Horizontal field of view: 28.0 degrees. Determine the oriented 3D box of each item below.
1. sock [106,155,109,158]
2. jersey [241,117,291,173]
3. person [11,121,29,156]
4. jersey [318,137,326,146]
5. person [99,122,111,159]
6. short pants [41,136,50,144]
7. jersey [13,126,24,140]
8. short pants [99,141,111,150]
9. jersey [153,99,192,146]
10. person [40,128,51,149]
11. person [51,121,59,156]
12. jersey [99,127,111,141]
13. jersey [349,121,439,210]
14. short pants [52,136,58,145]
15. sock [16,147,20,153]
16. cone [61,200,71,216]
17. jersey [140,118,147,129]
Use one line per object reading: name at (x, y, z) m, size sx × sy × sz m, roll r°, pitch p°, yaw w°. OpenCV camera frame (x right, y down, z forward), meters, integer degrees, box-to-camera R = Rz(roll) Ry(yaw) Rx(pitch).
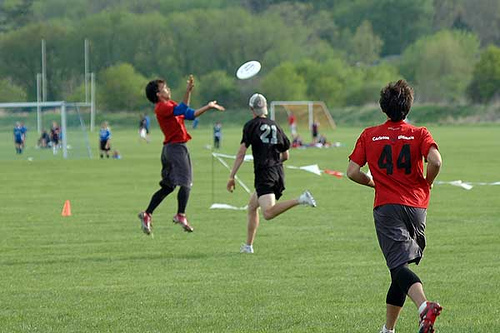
sock at (-6.702, -0.433, 46.884) m, size 0.069 × 0.145 × 0.193 m, roll 0°, pitch 5°, yaw 20°
jersey at (0.491, -0.754, 35.651) m, size 1.583 × 1.906 × 0.347 m, roll -2°, pitch 4°, yaw 1°
person at (-10.306, -1.236, 44.570) m, size 0.641 × 1.415 × 1.129 m, roll -2°, pitch 4°, yaw 0°
jersey at (4.295, -1.450, 60.976) m, size 0.439 × 0.555 × 0.163 m, roll -1°, pitch 0°, yaw 3°
person at (-6.755, -1.181, 46.727) m, size 0.313 × 1.674 × 0.816 m, roll 1°, pitch 5°, yaw 29°
short pants at (-9.269, -1.165, 45.395) m, size 0.412 × 0.298 × 0.251 m, roll 2°, pitch 6°, yaw 36°
jersey at (-10.367, -1.404, 44.448) m, size 0.597 × 0.740 × 0.286 m, roll 1°, pitch -1°, yaw 14°
short pants at (-6.808, -0.866, 46.737) m, size 0.580 × 0.572 × 0.317 m, roll 3°, pitch -5°, yaw -45°
jersey at (-2.882, -1.560, 36.713) m, size 1.193 × 1.660 × 1.502 m, roll -13°, pitch -3°, yaw 6°
person at (-9.341, -1.201, 45.450) m, size 0.488 × 0.823 × 0.901 m, roll -3°, pitch 5°, yaw -12°
person at (-8.907, -1.197, 45.502) m, size 0.351 × 1.425 × 1.467 m, roll -3°, pitch 5°, yaw -11°
jersey at (-6.821, -1.444, 46.544) m, size 0.619 × 0.588 × 0.339 m, roll -3°, pitch 5°, yaw -44°
jersey at (4.867, -0.033, 33.664) m, size 2.446 × 2.894 × 0.536 m, roll -1°, pitch 4°, yaw 9°
short pants at (-8.883, -1.105, 45.354) m, size 0.237 × 0.321 × 0.269 m, roll -2°, pitch 4°, yaw 1°
sock at (-10.295, -0.683, 44.188) m, size 0.154 × 0.208 × 0.170 m, roll -3°, pitch 5°, yaw -14°
cone at (-7.218, 1.689, 39.163) m, size 0.515 × 0.827 × 0.460 m, roll 0°, pitch -1°, yaw -8°
jersey at (-5.021, -1.954, 46.862) m, size 0.309 × 0.473 × 0.240 m, roll -2°, pitch 4°, yaw -8°
